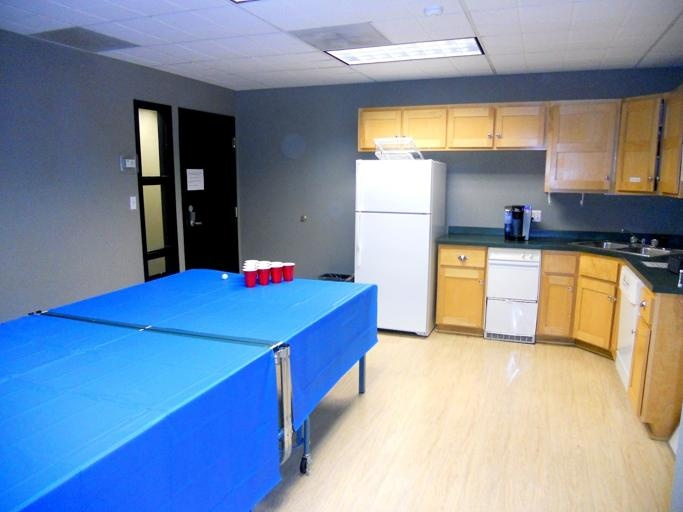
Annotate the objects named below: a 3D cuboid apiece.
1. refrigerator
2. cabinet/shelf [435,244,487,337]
[{"bbox_3d":[0.531,-0.082,4.968,0.838,1.836,0.341,7,16,27],"label":"refrigerator"},{"bbox_3d":[1.355,0.348,5.267,0.538,0.980,0.629,4,7,22],"label":"cabinet/shelf"}]
